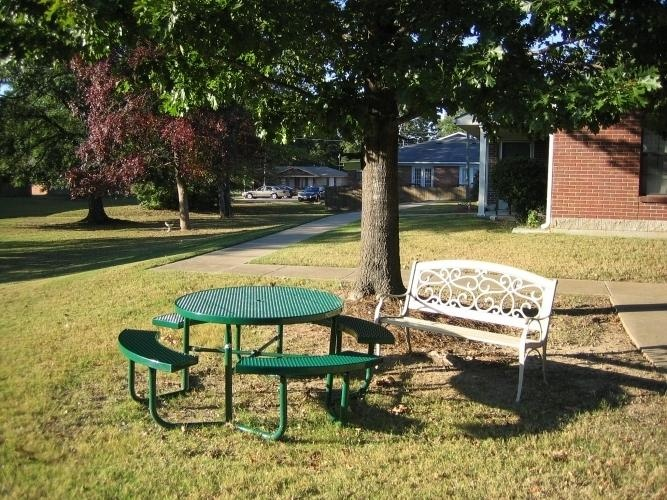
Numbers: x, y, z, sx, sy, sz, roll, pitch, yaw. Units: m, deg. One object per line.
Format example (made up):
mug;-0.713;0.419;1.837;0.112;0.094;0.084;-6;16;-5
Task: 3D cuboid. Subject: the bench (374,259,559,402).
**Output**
bench;1.473;0.825;7.123;1.871;1.344;0.843;6;9;41
